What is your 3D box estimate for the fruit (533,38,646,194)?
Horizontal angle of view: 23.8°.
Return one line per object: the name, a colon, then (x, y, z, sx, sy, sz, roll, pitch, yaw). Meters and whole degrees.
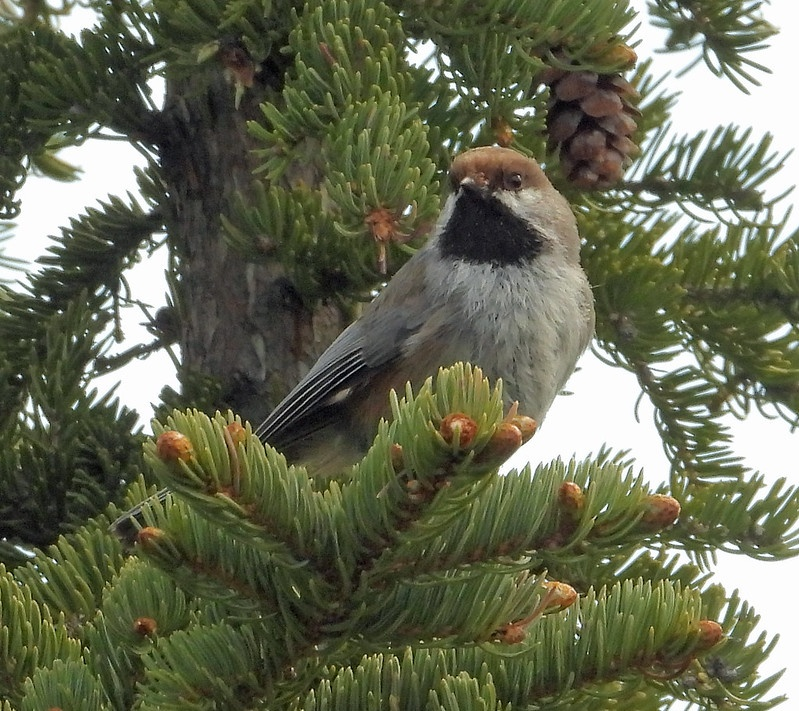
fruit: (0.622, -0.786, 6.310, 0.347, 0.752, 0.406, 1, -50, 4)
